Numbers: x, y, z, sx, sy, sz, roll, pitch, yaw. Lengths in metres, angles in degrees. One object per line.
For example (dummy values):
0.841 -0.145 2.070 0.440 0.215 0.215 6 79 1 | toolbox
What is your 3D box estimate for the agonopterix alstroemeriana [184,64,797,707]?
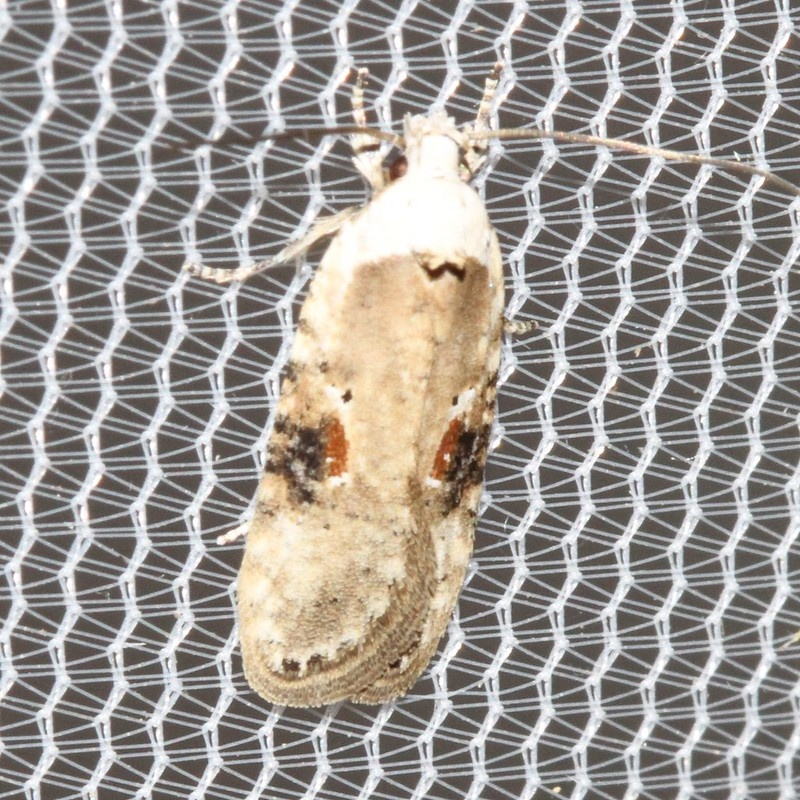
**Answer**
-0.051 0.040 5.051 0.560 0.345 1.488 9 85 0 | agonopterix alstroemeriana
